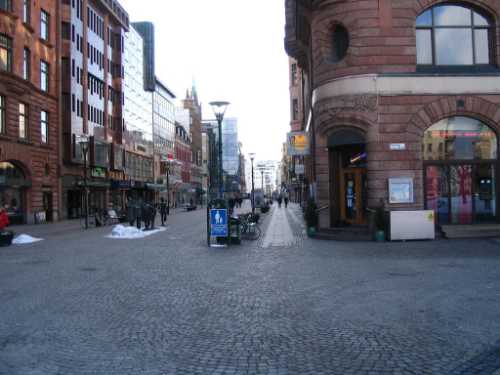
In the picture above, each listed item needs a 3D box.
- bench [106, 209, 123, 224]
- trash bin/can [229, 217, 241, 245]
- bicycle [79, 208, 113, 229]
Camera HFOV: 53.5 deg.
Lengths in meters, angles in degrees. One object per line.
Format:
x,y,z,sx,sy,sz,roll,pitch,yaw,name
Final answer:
-9.730,2.142,35.195,0.995,1.488,0.998,-4,-5,42,bench
-0.626,1.814,20.722,0.394,1.145,1.196,-3,-2,0,trash bin/can
-11.479,2.321,36.566,1.983,0.973,1.209,-3,2,-8,bicycle
